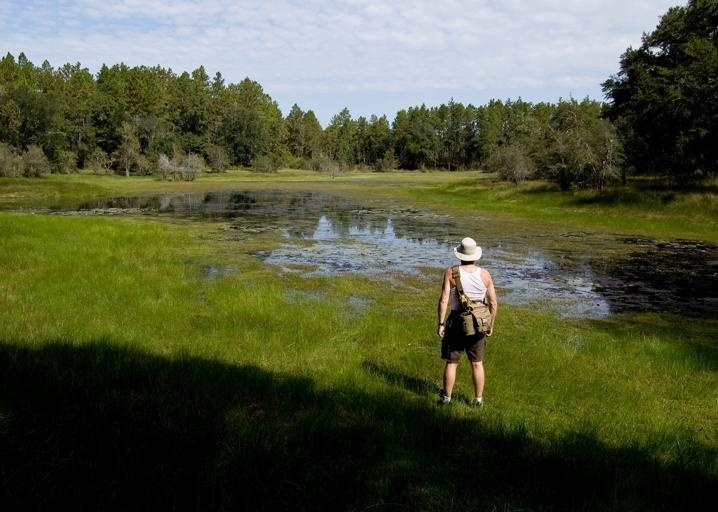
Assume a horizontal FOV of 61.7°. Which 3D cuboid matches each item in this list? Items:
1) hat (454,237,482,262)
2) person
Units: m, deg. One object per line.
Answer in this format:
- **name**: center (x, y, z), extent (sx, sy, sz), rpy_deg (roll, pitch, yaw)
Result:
- **hat**: center (2.167, -0.186, 12.139), extent (0.548, 0.280, 0.664), rpy_deg (-3, 37, 4)
- **person**: center (2.133, 1.337, 11.975), extent (1.082, 3.366, 0.759), rpy_deg (3, 13, 8)
